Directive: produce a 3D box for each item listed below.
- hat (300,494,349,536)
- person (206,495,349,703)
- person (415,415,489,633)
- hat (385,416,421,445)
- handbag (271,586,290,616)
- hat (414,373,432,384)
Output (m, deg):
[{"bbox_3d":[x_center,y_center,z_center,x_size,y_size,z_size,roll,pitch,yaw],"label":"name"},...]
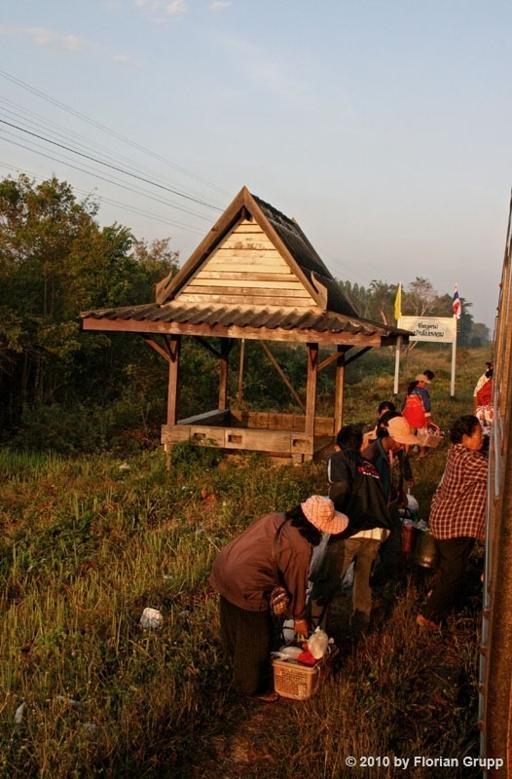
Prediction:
[{"bbox_3d":[0.453,0.804,4.177,0.304,0.237,0.209,1,4,-27],"label":"hat"},{"bbox_3d":[0.183,1.560,4.640,1.069,1.619,0.706,-4,30,-14],"label":"person"},{"bbox_3d":[1.638,1.112,5.315,0.545,1.792,0.468,5,4,33],"label":"person"},{"bbox_3d":[1.367,0.402,5.992,0.218,0.153,0.290,-19,36,-39],"label":"hat"},{"bbox_3d":[0.156,1.419,4.378,0.123,0.262,0.212,3,3,2],"label":"handbag"},{"bbox_3d":[3.278,-0.218,12.642,0.224,0.288,0.288,2,6,11],"label":"hat"}]
